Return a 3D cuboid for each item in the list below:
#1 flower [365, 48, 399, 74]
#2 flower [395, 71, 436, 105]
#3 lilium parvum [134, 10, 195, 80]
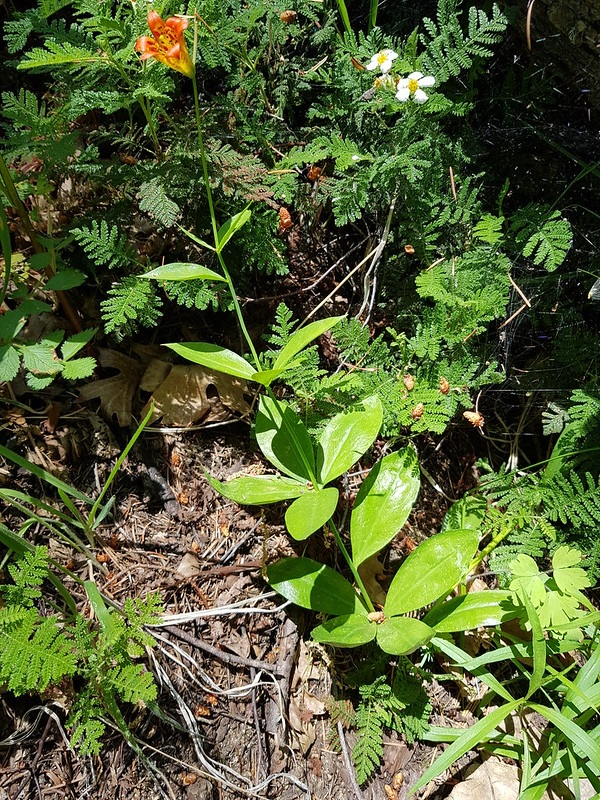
[{"bbox_3d":[0.238,-0.996,1.903,0.075,0.063,0.135,8,31,-2],"label":"flower"},{"bbox_3d":[0.335,-0.926,1.913,0.098,0.087,0.192,11,31,2],"label":"flower"},{"bbox_3d":[-0.292,-0.796,1.446,0.112,0.118,0.137,20,33,17],"label":"lilium parvum"}]
